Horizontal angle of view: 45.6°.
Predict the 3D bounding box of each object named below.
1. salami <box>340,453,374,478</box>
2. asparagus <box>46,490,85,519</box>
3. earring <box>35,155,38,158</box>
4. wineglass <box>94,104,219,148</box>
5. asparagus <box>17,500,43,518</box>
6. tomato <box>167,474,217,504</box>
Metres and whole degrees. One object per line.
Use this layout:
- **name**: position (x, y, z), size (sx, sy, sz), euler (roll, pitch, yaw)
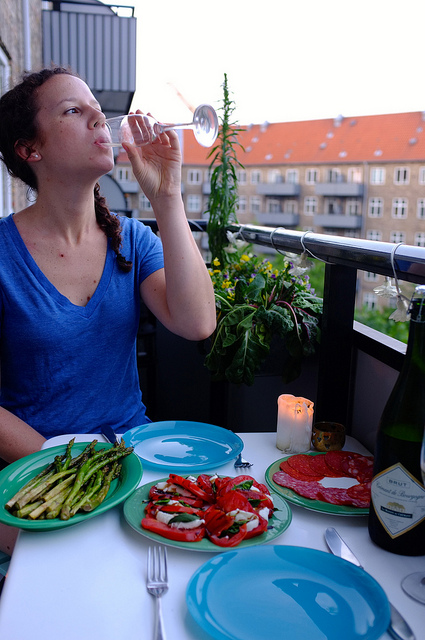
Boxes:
- **salami**: position (0.271, 0.272, 0.960), size (0.046, 0.005, 0.042), euler (-11, 17, -34)
- **asparagus**: position (-0.219, 0.264, 0.746), size (0.014, 0.010, 0.069), euler (2, 18, 20)
- **earring**: position (-0.421, -0.389, 1.207), size (0.006, 0.004, 0.006), euler (-2, 8, -28)
- **wineglass**: position (-0.129, -0.458, 1.219), size (0.308, 0.112, 0.161), euler (-2, 12, -14)
- **asparagus**: position (-0.264, 0.272, 0.726), size (0.010, 0.010, 0.033), euler (35, 25, 14)
- **tomato**: position (-0.032, 0.262, 0.789), size (0.087, 0.026, 0.097), euler (-2, 7, -16)
